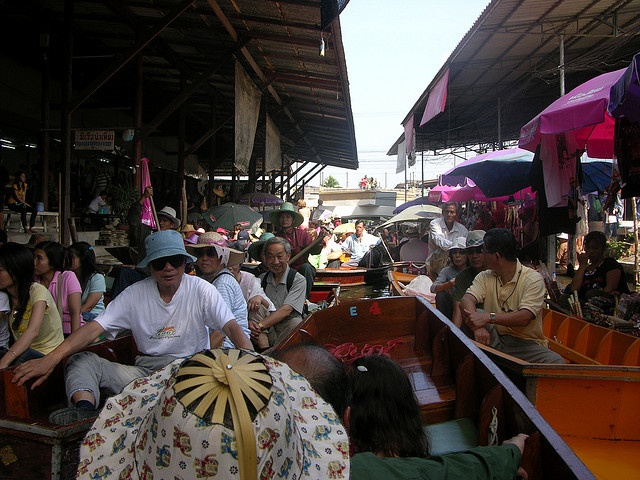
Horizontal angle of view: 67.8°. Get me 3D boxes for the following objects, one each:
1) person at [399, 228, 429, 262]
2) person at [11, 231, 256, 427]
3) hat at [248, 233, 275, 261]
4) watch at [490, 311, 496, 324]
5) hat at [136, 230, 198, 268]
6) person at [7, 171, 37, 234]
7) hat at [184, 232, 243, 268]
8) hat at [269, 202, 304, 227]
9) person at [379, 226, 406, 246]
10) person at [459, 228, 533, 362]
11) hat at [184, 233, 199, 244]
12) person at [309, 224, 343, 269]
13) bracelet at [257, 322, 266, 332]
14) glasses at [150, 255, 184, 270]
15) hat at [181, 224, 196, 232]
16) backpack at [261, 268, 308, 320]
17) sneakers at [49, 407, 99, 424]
[{"bbox_3d":[2.739,0.169,13.693,0.719,1.220,1.173,2,39,4],"label":"person"},{"bbox_3d":[-1.287,0.644,3.815,1.644,1.259,1.248,0,-6,9],"label":"person"},{"bbox_3d":[-0.776,0.040,6.118,0.309,0.192,0.458,11,-30,-11],"label":"hat"},{"bbox_3d":[1.563,0.687,4.242,0.048,0.076,0.079,3,2,17],"label":"watch"},{"bbox_3d":[-1.163,0.078,3.539,0.329,0.184,0.248,2,-9,-39],"label":"hat"},{"bbox_3d":[-5.414,-0.708,8.611,0.431,1.104,1.106,-3,6,-33],"label":"person"},{"bbox_3d":[-0.974,0.166,4.649,0.370,0.143,0.360,24,-15,-37],"label":"hat"},{"bbox_3d":[-0.538,-0.393,7.456,0.414,0.231,0.404,12,-11,-40],"label":"hat"},{"bbox_3d":[2.973,-0.171,18.936,0.774,1.042,0.981,-3,-8,-2],"label":"person"},{"bbox_3d":[1.709,0.551,4.487,0.662,1.343,0.584,-9,1,26],"label":"person"},{"bbox_3d":[-1.616,-0.019,5.994,0.092,0.110,0.285,16,-3,-6],"label":"hat"},{"bbox_3d":[0.144,0.170,10.404,0.583,0.837,1.455,2,-30,4],"label":"person"},{"bbox_3d":[-0.592,0.886,4.872,0.087,0.085,0.056,14,-10,-43],"label":"bracelet"},{"bbox_3d":[-1.140,0.166,3.552,0.248,0.115,0.082,-2,5,-23],"label":"glasses"},{"bbox_3d":[-2.776,-0.247,10.006,0.219,0.110,0.249,2,5,1],"label":"hat"},{"bbox_3d":[-0.393,0.587,5.138,0.472,0.593,0.297,-5,-3,21],"label":"backpack"},{"bbox_3d":[-1.622,1.143,3.102,0.213,0.085,0.179,3,1,-11],"label":"sneakers"}]
